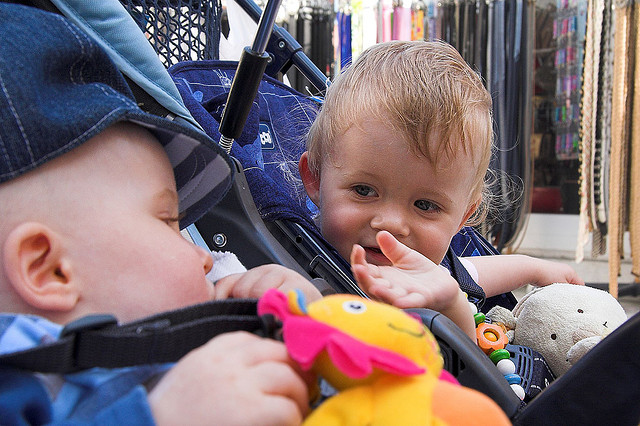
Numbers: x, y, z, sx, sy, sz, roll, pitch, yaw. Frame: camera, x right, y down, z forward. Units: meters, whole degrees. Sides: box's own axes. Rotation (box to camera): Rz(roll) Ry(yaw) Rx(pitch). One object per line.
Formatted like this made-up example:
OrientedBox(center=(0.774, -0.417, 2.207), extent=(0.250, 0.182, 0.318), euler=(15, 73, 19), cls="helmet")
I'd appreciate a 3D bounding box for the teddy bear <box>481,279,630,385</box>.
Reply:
OrientedBox(center=(0.504, 0.226, 1.277), extent=(0.259, 0.234, 0.210), euler=(-1, -2, 16), cls="teddy bear")
